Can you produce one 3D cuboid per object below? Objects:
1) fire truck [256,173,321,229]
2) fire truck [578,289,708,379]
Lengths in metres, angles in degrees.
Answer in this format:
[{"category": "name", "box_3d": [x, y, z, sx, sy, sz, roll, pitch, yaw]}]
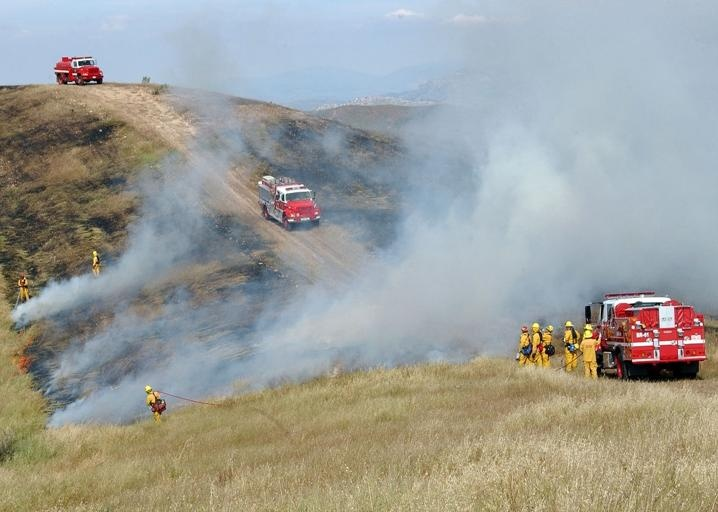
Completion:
[{"category": "fire truck", "box_3d": [-5.308, -4.078, 65.060, 2.774, 3.383, 6.807, -4, 11, -28]}, {"category": "fire truck", "box_3d": [13.999, 3.867, 44.602, 3.961, 4.165, 7.188, -2, -3, 2]}]
